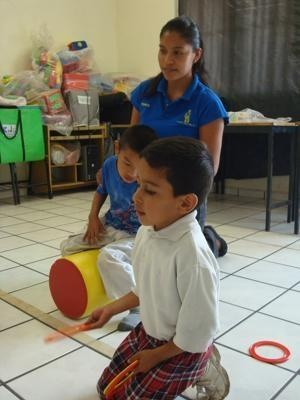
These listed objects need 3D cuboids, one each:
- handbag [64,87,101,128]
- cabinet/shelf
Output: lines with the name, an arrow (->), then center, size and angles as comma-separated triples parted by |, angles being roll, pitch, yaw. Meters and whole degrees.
handbag -> -0.837, -1.200, 4.281 | 0.491, 0.472, 0.129 | -7, 7, -42
cabinet/shelf -> -1.047, -0.504, 4.085 | 0.482, 0.805, 0.900 | 13, 19, 39
